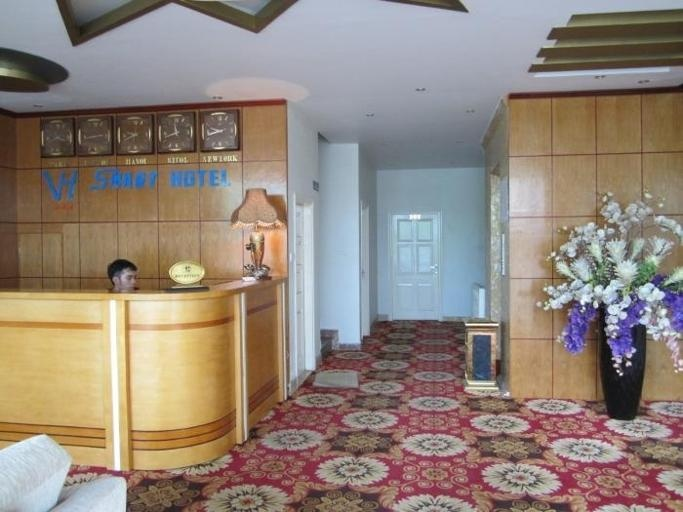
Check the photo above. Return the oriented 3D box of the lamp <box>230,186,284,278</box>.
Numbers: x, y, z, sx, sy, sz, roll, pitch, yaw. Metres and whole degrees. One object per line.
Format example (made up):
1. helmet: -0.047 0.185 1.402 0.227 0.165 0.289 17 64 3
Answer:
1. lamp: -1.000 -0.274 6.476 0.807 1.040 0.843 -4 -4 34
